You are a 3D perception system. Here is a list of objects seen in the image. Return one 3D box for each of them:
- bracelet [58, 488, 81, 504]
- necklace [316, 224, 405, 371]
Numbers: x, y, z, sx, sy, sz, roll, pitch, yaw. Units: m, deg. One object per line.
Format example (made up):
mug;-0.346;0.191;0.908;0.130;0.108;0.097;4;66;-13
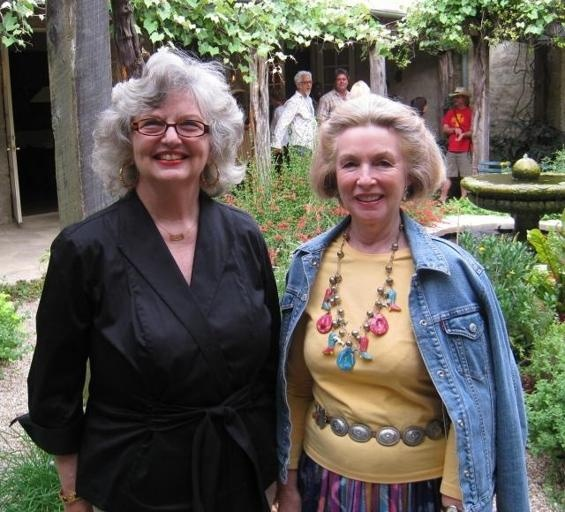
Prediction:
bracelet;-0.644;0.718;1.777;0.054;0.033;0.047;17;-5;9
necklace;0.248;0.121;1.840;0.271;0.060;0.534;-1;49;23
